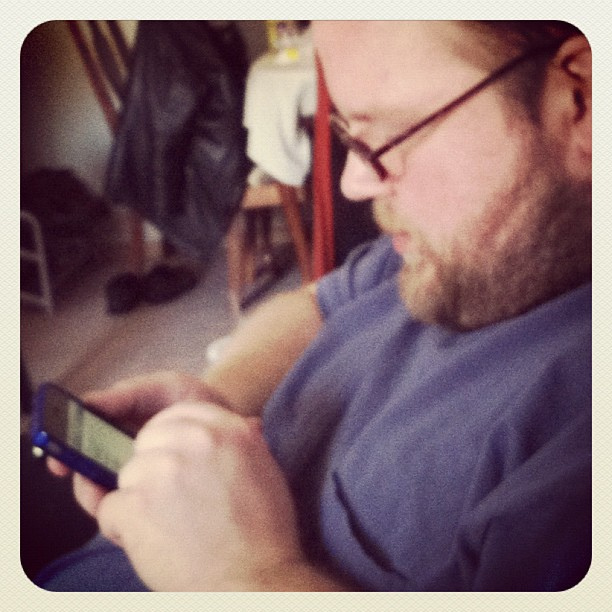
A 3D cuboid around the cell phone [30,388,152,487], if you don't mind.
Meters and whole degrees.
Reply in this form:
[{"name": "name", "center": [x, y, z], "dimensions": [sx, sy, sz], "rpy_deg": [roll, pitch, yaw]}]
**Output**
[{"name": "cell phone", "center": [-0.529, 0.314, 1.742], "dimensions": [0.279, 0.173, 0.148], "rpy_deg": [7, 41, 12]}]
